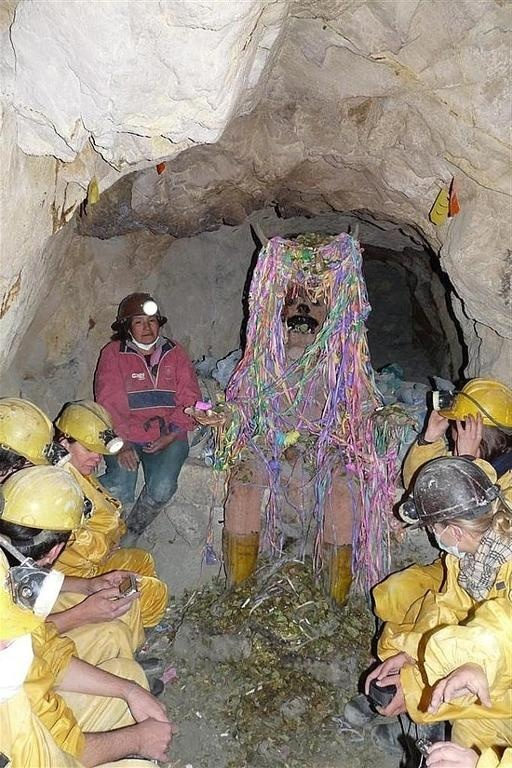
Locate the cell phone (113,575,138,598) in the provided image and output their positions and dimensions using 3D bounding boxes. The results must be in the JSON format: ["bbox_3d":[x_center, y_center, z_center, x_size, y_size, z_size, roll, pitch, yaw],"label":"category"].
[{"bbox_3d":[-0.461,0.729,2.464,0.022,0.061,0.060,43,5,-48],"label":"cell phone"}]

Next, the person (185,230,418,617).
[{"bbox_3d":[0.176,0.189,3.299,1.131,1.825,0.599,1,10,-6],"label":"person"}]

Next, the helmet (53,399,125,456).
[{"bbox_3d":[-0.676,0.155,2.818,0.303,0.151,0.226,25,18,24],"label":"helmet"}]

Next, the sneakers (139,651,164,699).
[{"bbox_3d":[-0.412,1.167,2.769,0.111,0.063,0.176,18,26,-34],"label":"sneakers"}]

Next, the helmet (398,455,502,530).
[{"bbox_3d":[0.576,0.303,2.057,0.309,0.158,0.226,-13,7,30],"label":"helmet"}]
